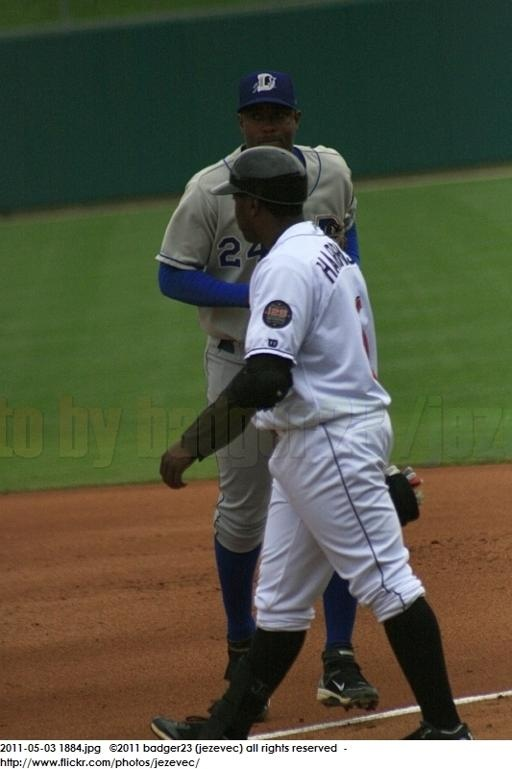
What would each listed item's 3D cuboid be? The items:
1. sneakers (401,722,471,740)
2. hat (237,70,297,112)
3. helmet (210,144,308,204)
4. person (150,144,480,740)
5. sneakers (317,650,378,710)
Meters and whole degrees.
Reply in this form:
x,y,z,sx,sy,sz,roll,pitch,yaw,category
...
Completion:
x,y,z,sx,sy,sz,roll,pitch,yaw,category
0.511,0.988,3.244,0.189,0.069,0.060,3,-9,7,sneakers
0.029,-0.996,3.885,0.142,0.085,0.175,1,18,8,hat
0.014,-0.613,3.334,0.233,0.101,0.165,13,25,24,helmet
0.110,0.205,3.327,0.831,1.749,0.677,-5,15,-2,person
0.287,0.963,3.683,0.106,0.145,0.290,6,-16,-22,sneakers
